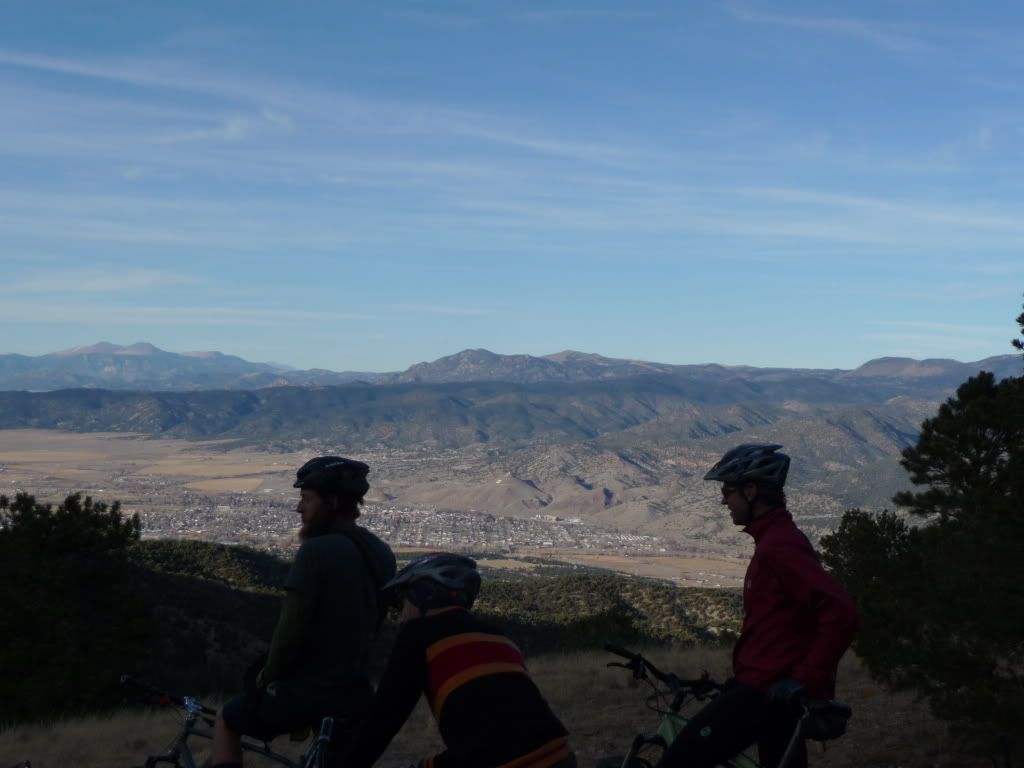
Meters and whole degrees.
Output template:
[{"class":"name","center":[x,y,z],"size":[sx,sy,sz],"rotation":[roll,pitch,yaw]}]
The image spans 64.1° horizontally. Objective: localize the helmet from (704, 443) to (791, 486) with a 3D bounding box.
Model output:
[{"class":"helmet","center":[1.720,0.586,5.923],"size":[0.616,0.251,0.401],"rotation":[1,-5,6]}]

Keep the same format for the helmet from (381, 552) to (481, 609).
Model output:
[{"class":"helmet","center":[-0.514,1.264,5.212],"size":[0.539,0.196,0.419],"rotation":[8,-6,-27]}]

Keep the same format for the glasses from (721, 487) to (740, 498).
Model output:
[{"class":"glasses","center":[1.582,0.792,5.904],"size":[0.121,0.061,0.082],"rotation":[2,-4,5]}]

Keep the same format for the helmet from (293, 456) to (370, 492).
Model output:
[{"class":"helmet","center":[-1.259,0.652,5.846],"size":[0.437,0.167,0.376],"rotation":[1,0,-35]}]
